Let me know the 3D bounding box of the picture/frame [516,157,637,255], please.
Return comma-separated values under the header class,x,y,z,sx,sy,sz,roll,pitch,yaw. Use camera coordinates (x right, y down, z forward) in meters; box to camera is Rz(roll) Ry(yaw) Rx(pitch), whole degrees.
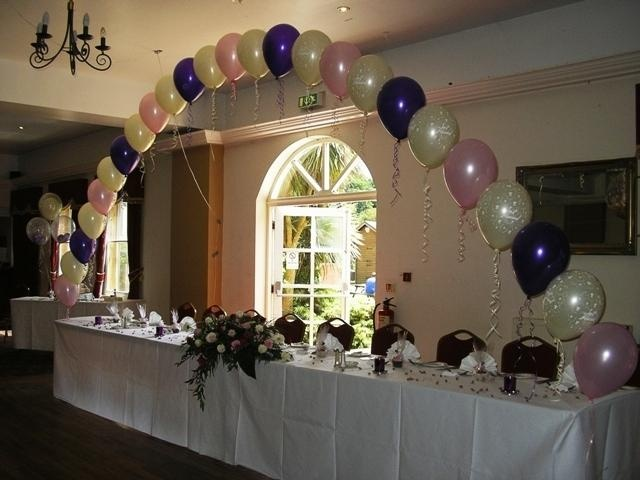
class,x,y,z,sx,sy,sz,roll,pitch,yaw
picture/frame,2.713,-0.340,5.006,1.017,0.962,0.108,0,-4,38
